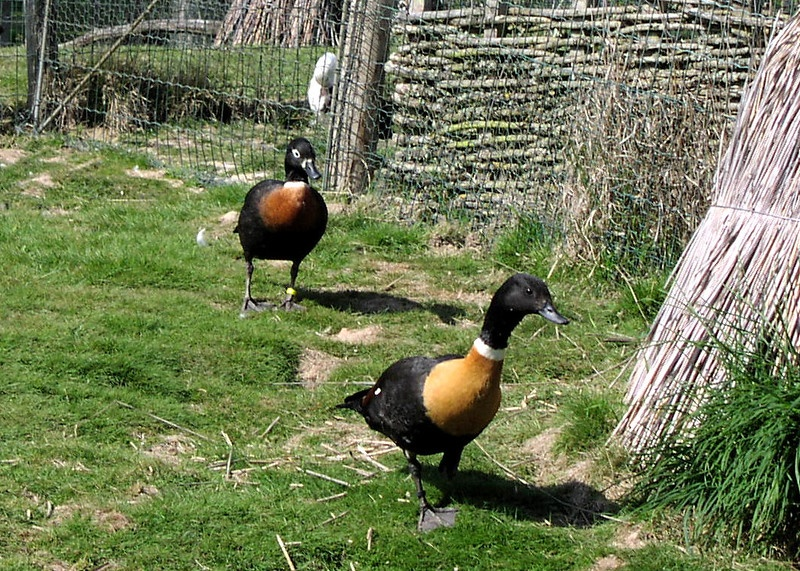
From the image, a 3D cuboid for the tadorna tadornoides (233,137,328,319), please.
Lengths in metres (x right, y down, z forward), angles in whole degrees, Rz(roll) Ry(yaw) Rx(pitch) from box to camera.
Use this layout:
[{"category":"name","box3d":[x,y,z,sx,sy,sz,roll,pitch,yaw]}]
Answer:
[{"category":"tadorna tadornoides","box3d":[-1.087,-0.538,11.283,0.794,1.555,0.640,12,14,1]}]
